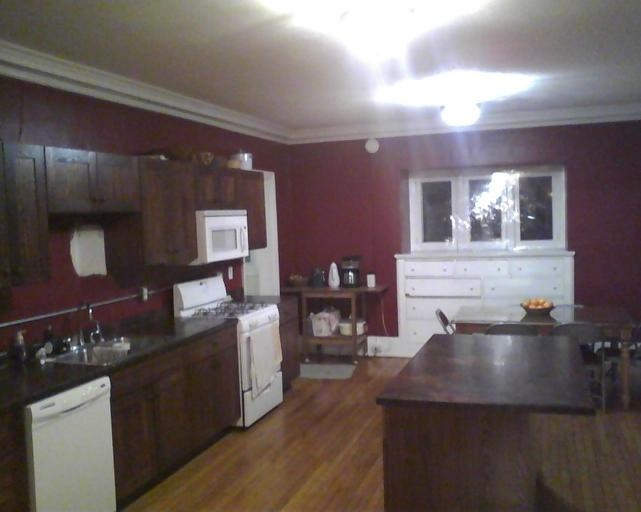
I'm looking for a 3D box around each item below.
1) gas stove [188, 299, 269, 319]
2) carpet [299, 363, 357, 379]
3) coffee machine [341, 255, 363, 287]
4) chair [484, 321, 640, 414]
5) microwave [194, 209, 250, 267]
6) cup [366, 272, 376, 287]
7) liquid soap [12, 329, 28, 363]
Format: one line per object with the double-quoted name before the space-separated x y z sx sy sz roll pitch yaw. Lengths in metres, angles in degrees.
"gas stove" -0.799 0.471 4.601 0.490 0.060 0.656 0 8 25
"carpet" 0.059 1.295 5.778 0.648 0.023 0.578 -2 7 9
"coffee machine" 0.372 0.186 6.172 0.242 0.346 0.268 -3 7 -1
"chair" 1.576 0.711 3.353 0.656 0.375 0.362 -1 -1 12
"microwave" -0.854 -0.176 4.468 0.348 0.476 0.692 0 2 16
"cup" 0.609 0.291 6.178 0.127 0.236 0.136 0 7 0
"liquid soap" -1.908 0.569 3.248 0.070 0.189 0.141 -4 7 -11
